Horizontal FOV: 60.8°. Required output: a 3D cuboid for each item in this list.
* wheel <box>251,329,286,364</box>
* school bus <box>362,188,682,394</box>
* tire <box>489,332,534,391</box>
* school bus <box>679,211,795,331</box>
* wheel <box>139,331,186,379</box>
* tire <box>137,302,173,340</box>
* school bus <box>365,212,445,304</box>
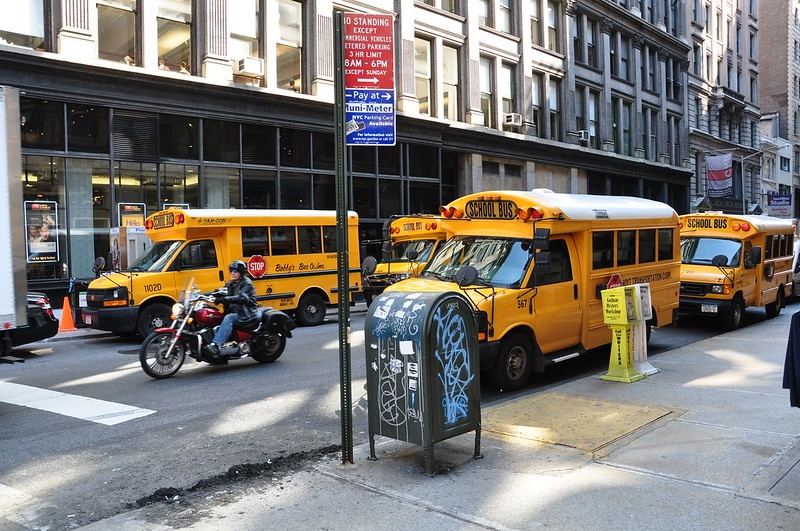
[{"bbox_3d":[-2.792,1.670,14.279,0.247,0.709,0.717,5,7,34],"label":"wheel"},{"bbox_3d":[3.045,0.183,14.494,6.916,3.420,3.137,-5,8,-42],"label":"school bus"},{"bbox_3d":[2.049,1.706,12.276,1.056,1.034,0.277,-11,15,-39],"label":"tire"},{"bbox_3d":[9.169,0.028,19.974,2.781,2.833,5.131,0,1,43],"label":"school bus"},{"bbox_3d":[-4.684,1.784,13.436,0.140,0.653,0.727,0,-28,42],"label":"wheel"},{"bbox_3d":[-6.165,1.457,17.169,0.982,0.967,0.357,-5,0,-36],"label":"tire"},{"bbox_3d":[-0.147,-0.431,19.842,1.823,1.829,3.227,-1,1,31],"label":"school bus"}]
